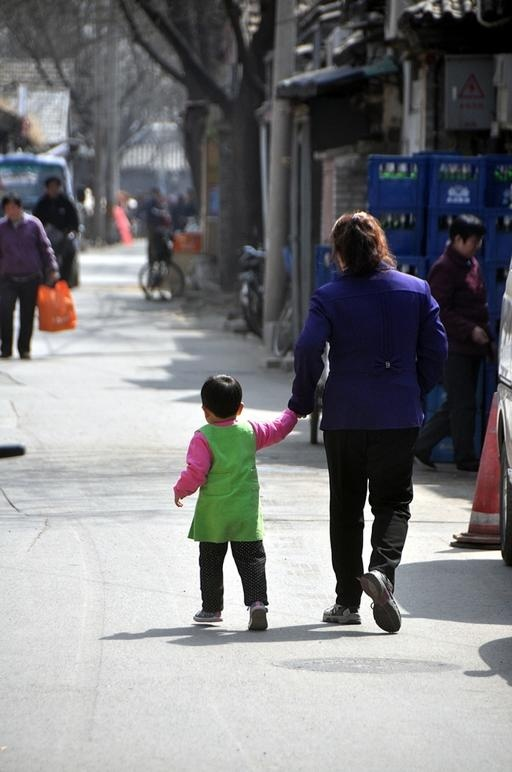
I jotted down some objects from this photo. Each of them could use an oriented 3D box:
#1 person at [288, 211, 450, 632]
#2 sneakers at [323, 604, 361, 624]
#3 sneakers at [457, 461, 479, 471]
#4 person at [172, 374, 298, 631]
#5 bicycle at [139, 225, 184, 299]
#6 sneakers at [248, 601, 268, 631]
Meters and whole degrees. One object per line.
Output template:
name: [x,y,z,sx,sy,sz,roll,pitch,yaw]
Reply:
person: [0.400,0.149,4.001,0.561,1.558,0.387,2,4,10]
sneakers: [0.330,0.872,4.170,0.137,0.076,0.065,4,3,9]
sneakers: [1.534,0.584,7.874,0.161,0.078,0.063,-1,10,-10]
person: [-0.081,0.430,4.004,0.439,0.935,0.303,1,4,-6]
bicycle: [-2.027,-2.390,23.203,0.720,1.072,1.643,0,8,-6]
sneakers: [-0.001,0.848,4.007,0.048,0.121,0.052,-1,44,0]
